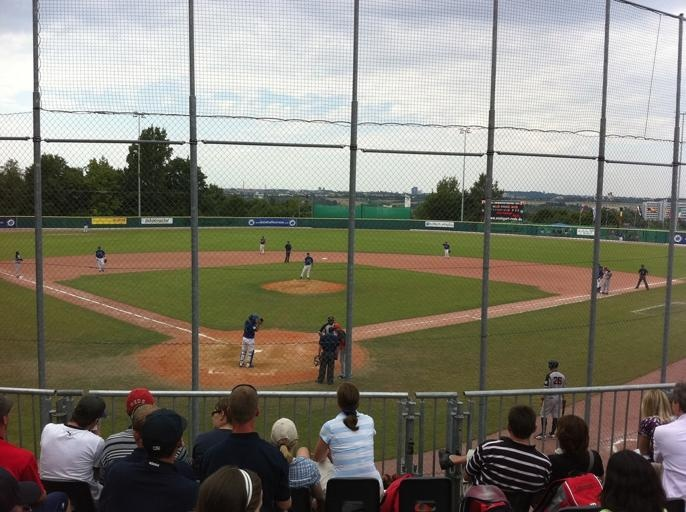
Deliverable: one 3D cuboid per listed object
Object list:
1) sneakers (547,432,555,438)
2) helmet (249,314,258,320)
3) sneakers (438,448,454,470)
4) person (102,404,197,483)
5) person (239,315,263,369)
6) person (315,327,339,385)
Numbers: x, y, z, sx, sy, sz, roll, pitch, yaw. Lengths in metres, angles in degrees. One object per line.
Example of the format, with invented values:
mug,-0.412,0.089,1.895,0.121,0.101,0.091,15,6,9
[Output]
sneakers,4.151,3.586,20.071,0.094,0.123,0.285,2,3,3
helmet,-2.038,1.431,23.418,0.172,0.161,0.136,-2,5,-39
sneakers,1.501,2.976,14.757,0.156,0.122,0.295,-8,38,-3
person,-2.856,2.620,13.771,0.957,0.636,1.342,-5,29,-10
person,-2.181,2.027,23.899,0.469,1.270,1.351,3,-5,-5
person,-0.319,2.150,22.424,0.414,1.319,0.423,2,23,-7
